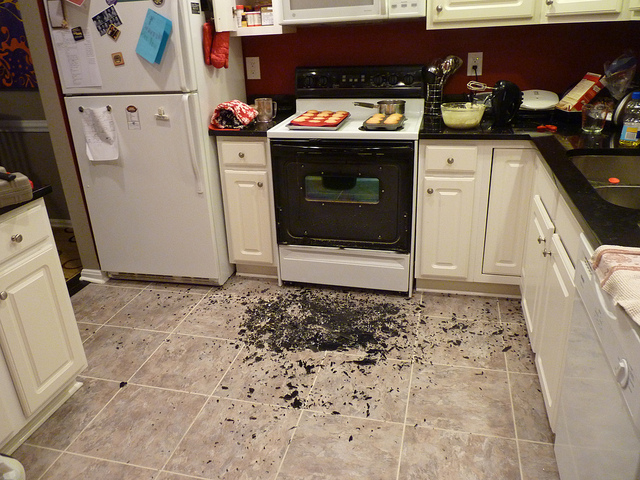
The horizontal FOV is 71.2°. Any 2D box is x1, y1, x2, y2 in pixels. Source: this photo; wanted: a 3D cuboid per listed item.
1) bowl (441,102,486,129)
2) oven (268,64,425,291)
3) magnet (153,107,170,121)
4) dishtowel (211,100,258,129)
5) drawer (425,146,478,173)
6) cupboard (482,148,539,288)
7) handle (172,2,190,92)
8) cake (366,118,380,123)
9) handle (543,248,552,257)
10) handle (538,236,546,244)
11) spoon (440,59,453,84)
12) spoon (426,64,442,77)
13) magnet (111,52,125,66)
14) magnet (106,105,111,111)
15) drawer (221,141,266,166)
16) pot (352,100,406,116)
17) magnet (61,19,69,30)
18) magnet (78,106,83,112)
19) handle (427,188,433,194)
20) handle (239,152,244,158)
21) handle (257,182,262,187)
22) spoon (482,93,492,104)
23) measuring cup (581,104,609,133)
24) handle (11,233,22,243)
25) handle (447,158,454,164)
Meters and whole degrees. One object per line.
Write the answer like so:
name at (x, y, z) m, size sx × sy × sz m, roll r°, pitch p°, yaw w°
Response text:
bowl at (0.849, -0.739, 2.627) m, size 0.179 × 0.085 × 0.182 m, roll -1°, pitch 21°, yaw 0°
oven at (0.194, -0.421, 2.994) m, size 0.928 × 1.347 × 0.586 m, roll 4°, pitch 25°, yaw 13°
magnet at (-0.970, -0.775, 2.728) m, size 0.069 × 0.060 × 0.023 m, roll 9°, pitch 36°, yaw 7°
dishtowel at (-0.547, -0.828, 2.871) m, size 0.215 × 0.087 × 0.208 m, roll 31°, pitch 39°, yaw 33°
drawer at (0.767, -0.475, 2.600) m, size 0.239 × 0.151 × 0.160 m, roll 5°, pitch 30°, yaw 13°
cupboard at (1.044, -0.152, 2.665) m, size 0.286 × 0.725 × 0.345 m, roll 5°, pitch 20°, yaw 14°
handle at (-0.813, -1.104, 2.575) m, size 0.049 × 0.475 × 0.063 m, roll 10°, pitch 27°, yaw 26°
cake at (0.320, -0.727, 2.718) m, size 0.050 × 0.014 × 0.050 m, roll 6°, pitch 28°, yaw 11°
handle at (1.037, 0.057, 2.041) m, size 0.026 × 0.029 × 0.023 m, roll 6°, pitch -5°, yaw 9°
handle at (1.054, -0.001, 2.124) m, size 0.048 × 0.026 × 0.035 m, roll 1°, pitch 5°, yaw -32°
spoon at (0.774, -1.035, 2.735) m, size 0.029 × 0.133 × 0.038 m, roll 13°, pitch 12°, yaw 16°
spoon at (0.708, -1.047, 2.756) m, size 0.055 × 0.023 × 0.076 m, roll 20°, pitch 18°, yaw 5°
magnet at (-1.210, -1.084, 2.673) m, size 0.073 × 0.072 × 0.015 m, roll 8°, pitch 26°, yaw 21°
magnet at (-1.315, -0.822, 2.781) m, size 0.018 × 0.025 × 0.008 m, roll 3°, pitch 11°, yaw 4°
drawer at (-0.503, -0.559, 2.862) m, size 0.239 × 0.153 × 0.169 m, roll 5°, pitch 27°, yaw 9°
pot at (0.400, -0.848, 2.873) m, size 0.301 × 0.098 × 0.252 m, roll 1°, pitch 25°, yaw 7°
magnet at (-1.517, -1.286, 2.657) m, size 0.040 × 0.060 × 0.041 m, roll 9°, pitch 17°, yaw -1°
magnet at (-1.507, -0.826, 2.815) m, size 0.024 × 0.029 × 0.026 m, roll 6°, pitch 6°, yaw -9°
handle at (0.656, -0.295, 2.671) m, size 0.024 × 0.025 × 0.009 m, roll 7°, pitch 15°, yaw 8°
handle at (-0.506, -0.549, 2.862) m, size 0.029 × 0.030 × 0.007 m, roll 12°, pitch 12°, yaw 6°
handle at (-0.390, -0.361, 2.885) m, size 0.021 × 0.022 × 0.019 m, roll -23°, pitch 3°, yaw 2°
spoon at (1.068, -0.905, 2.849) m, size 0.036 × 0.096 × 0.019 m, roll 23°, pitch -14°, yaw 8°
measuring cup at (1.512, -0.676, 2.474) m, size 0.111 × 0.149 × 0.083 m, roll 11°, pitch 27°, yaw 27°
handle at (-1.279, -0.009, 1.885) m, size 0.029 × 0.029 × 0.028 m, roll 22°, pitch 31°, yaw 38°
handle at (0.756, -0.465, 2.599) m, size 0.029 × 0.030 × 0.007 m, roll 19°, pitch 8°, yaw 9°
